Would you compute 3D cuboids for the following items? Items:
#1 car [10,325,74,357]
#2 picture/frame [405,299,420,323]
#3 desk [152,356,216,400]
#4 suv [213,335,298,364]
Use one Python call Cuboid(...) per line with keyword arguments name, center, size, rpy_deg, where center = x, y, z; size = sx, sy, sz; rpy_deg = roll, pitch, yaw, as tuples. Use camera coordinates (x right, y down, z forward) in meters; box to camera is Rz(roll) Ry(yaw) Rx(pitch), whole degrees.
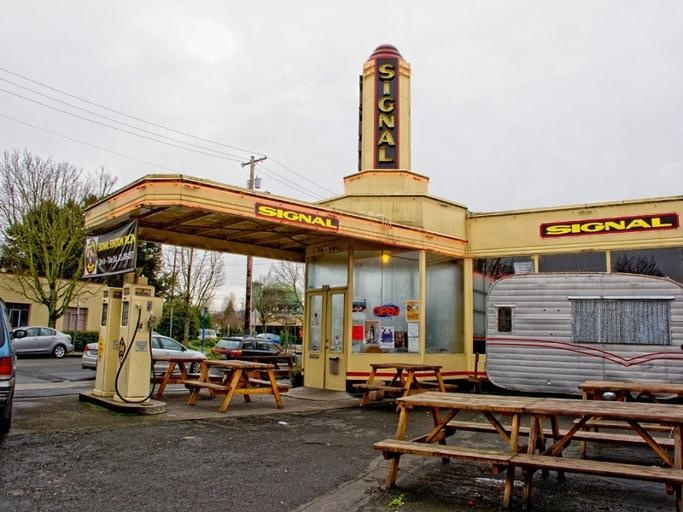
Cuboid(name="car", center=(-13.626, 3.949, 24.996), size=(0.741, 1.442, 2.502), rpy_deg=(0, -4, 30))
Cuboid(name="picture/frame", center=(1.945, 1.544, 15.108), size=(0.585, 0.790, 0.078), rpy_deg=(4, -17, -3))
Cuboid(name="desk", center=(-4.162, 3.167, 14.186), size=(1.073, 0.986, 1.992), rpy_deg=(1, -5, -5))
Cuboid(name="suv", center=(-3.516, 3.998, 23.499), size=(2.966, 1.164, 1.483), rpy_deg=(2, -4, -37))
